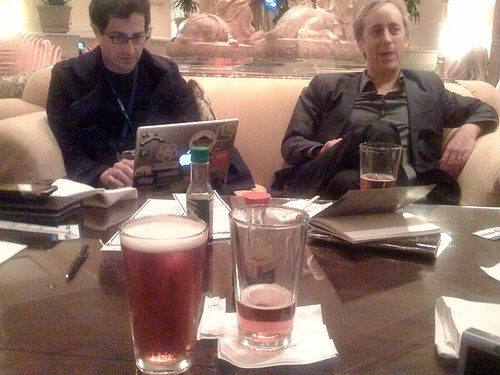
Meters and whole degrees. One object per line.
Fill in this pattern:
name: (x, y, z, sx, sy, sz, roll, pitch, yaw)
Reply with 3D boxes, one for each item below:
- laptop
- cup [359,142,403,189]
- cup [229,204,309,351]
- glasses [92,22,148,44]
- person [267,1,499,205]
laptop: (-0.215, -0.115, 1.222, 0.343, 0.230, 0.248, -2, 42, -19)
cup: (0.365, -0.055, 1.085, 0.109, 0.116, 0.122, 3, 19, 16)
cup: (0.031, 0.130, 0.558, 0.112, 0.194, 0.109, -2, 19, 1)
glasses: (-0.593, -0.723, 1.819, 0.234, 0.072, 0.150, -12, 21, -27)
person: (0.704, -0.495, 2.033, 1.231, 1.030, 0.878, -11, 20, -24)
